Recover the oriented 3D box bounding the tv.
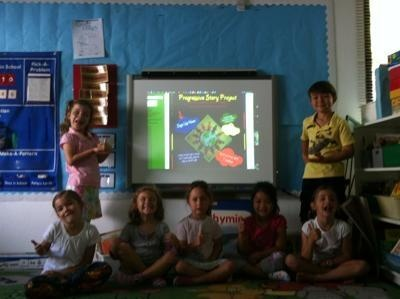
[{"bbox_3d":[0.003,-0.133,3.561,1.086,0.913,0.123,0,-5,0],"label":"tv"}]

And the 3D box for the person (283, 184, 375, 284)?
[{"bbox_3d":[0.929,0.623,3.054,0.628,0.763,0.623,0,-10,13],"label":"person"}]

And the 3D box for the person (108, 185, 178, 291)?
[{"bbox_3d":[-0.412,0.605,2.861,0.497,0.726,0.489,6,-15,-25],"label":"person"}]

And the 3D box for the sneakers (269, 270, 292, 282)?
[{"bbox_3d":[0.582,0.905,2.817,0.161,0.060,0.065,4,-1,29],"label":"sneakers"}]

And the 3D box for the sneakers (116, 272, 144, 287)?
[{"bbox_3d":[-0.485,0.891,2.708,0.159,0.099,0.065,4,-7,2],"label":"sneakers"}]
